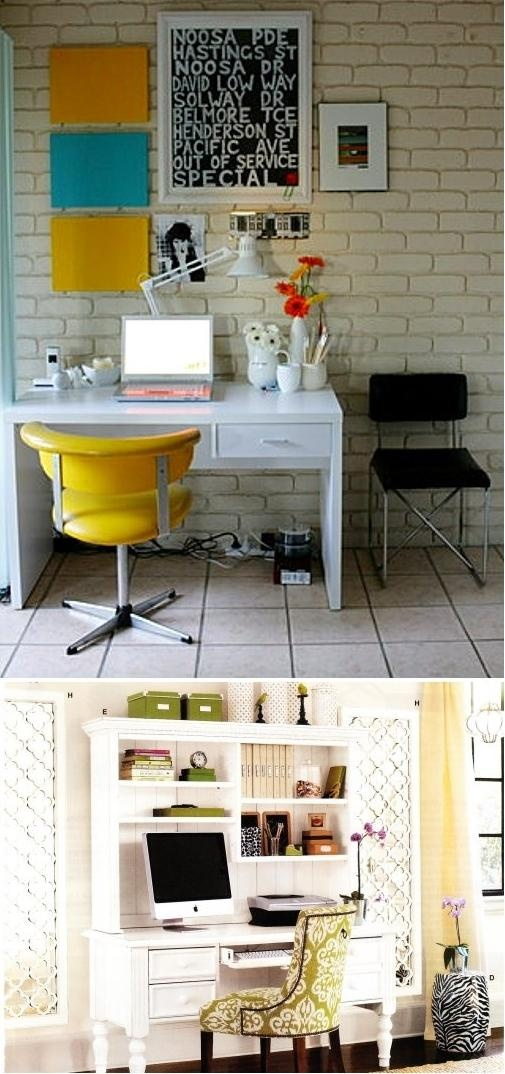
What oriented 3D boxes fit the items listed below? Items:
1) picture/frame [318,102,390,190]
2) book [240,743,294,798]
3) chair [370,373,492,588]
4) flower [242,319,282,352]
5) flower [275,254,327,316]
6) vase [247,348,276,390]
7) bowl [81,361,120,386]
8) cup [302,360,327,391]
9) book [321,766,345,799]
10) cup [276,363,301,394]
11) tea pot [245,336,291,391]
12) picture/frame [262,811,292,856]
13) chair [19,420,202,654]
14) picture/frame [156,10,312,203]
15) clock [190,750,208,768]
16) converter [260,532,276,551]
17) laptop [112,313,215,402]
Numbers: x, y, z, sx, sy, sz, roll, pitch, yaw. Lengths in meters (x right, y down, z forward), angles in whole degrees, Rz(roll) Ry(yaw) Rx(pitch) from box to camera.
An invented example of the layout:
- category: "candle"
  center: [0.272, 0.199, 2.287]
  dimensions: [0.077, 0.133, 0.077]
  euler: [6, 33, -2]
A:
- category: "picture/frame"
  center: [0.436, -1.659, 3.537]
  dimensions: [0.268, 0.405, 0.036]
  euler: [0, 6, 3]
- category: "book"
  center: [0.042, 0.786, 2.815]
  dimensions: [0.144, 0.182, 0.084]
  euler: [1, -6, -14]
- category: "chair"
  center: [0.773, -0.263, 3.540]
  dimensions: [0.542, 0.804, 0.710]
  euler: [-1, 14, 5]
- category: "flower"
  center: [0.064, -0.839, 3.564]
  dimensions: [0.136, 0.172, 0.064]
  euler: [4, -3, 31]
- category: "flower"
  center: [0.207, -1.046, 3.545]
  dimensions: [0.211, 0.256, 0.307]
  euler: [-2, 15, 2]
- category: "vase"
  center: [0.045, -0.699, 3.517]
  dimensions: [0.104, 0.180, 0.163]
  euler: [1, 4, 3]
- category: "bowl"
  center: [-0.641, -0.693, 3.592]
  dimensions: [0.108, 0.067, 0.115]
  euler: [0, 21, 0]
- category: "cup"
  center: [0.258, -0.671, 3.523]
  dimensions: [0.095, 0.120, 0.103]
  euler: [0, 16, 0]
- category: "book"
  center: [0.287, 0.863, 2.941]
  dimensions: [0.012, 0.139, 0.072]
  euler: [24, -28, -19]
- category: "cup"
  center: [0.143, -0.634, 3.404]
  dimensions: [0.099, 0.142, 0.108]
  euler: [-1, 8, 0]
- category: "tea pot"
  center: [0.049, -0.726, 3.622]
  dimensions: [0.208, 0.254, 0.149]
  euler: [2, 5, 17]
- category: "picture/frame"
  center: [0.081, 1.014, 2.859]
  dimensions: [0.091, 0.160, 0.015]
  euler: [6, -22, -16]
- category: "chair"
  center: [-0.431, -0.046, 2.844]
  dimensions: [0.528, 0.850, 0.573]
  euler: [22, 34, 33]
- category: "picture/frame"
  center: [-0.071, -1.804, 3.523]
  dimensions: [0.631, 0.888, 0.037]
  euler: [0, -10, -1]
- category: "clock"
  center: [-0.178, 0.742, 2.793]
  dimensions: [0.020, 0.053, 0.043]
  euler: [-4, 1, 43]
- category: "converter"
  center: [0.075, 0.018, 3.819]
  dimensions: [0.073, 0.138, 0.061]
  euler: [0, -8, -7]
- category: "laptop"
  center: [-0.332, -0.719, 3.359]
  dimensions: [0.348, 0.336, 0.335]
  euler: [-1, 12, -3]
